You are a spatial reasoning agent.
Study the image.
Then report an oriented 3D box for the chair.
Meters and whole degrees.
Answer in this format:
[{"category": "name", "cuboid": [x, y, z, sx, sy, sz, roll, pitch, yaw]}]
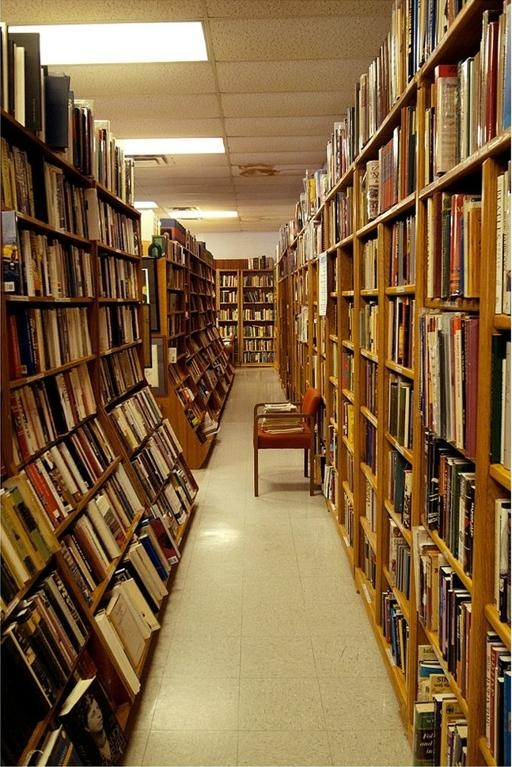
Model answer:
[{"category": "chair", "cuboid": [0.249, 0.477, 4.693, 0.578, 1.304, 0.909, 1, 2, 0]}]
